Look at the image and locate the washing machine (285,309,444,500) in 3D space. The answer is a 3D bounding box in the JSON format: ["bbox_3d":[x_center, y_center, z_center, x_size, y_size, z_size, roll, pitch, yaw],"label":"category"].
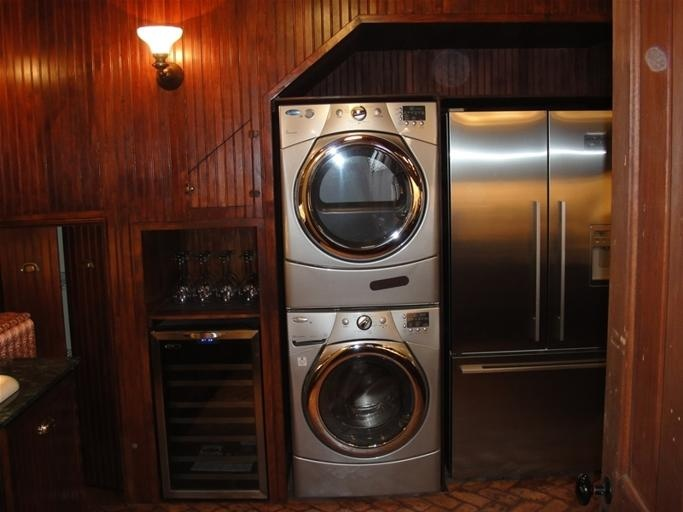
[{"bbox_3d":[0.157,0.762,3.924,1.005,1.364,0.901,0,2,-1],"label":"washing machine"}]

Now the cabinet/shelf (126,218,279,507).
[{"bbox_3d":[-0.757,0.585,3.782,0.714,1.613,0.535,-2,12,-4],"label":"cabinet/shelf"}]

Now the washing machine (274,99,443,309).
[{"bbox_3d":[0.093,-0.346,3.780,0.877,1.157,0.825,-2,15,2],"label":"washing machine"}]

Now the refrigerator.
[{"bbox_3d":[1.032,0.235,3.594,0.885,1.989,0.606,-2,-9,1],"label":"refrigerator"}]

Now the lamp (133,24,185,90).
[{"bbox_3d":[-0.936,-1.022,3.357,0.216,0.297,0.220,2,11,8],"label":"lamp"}]
